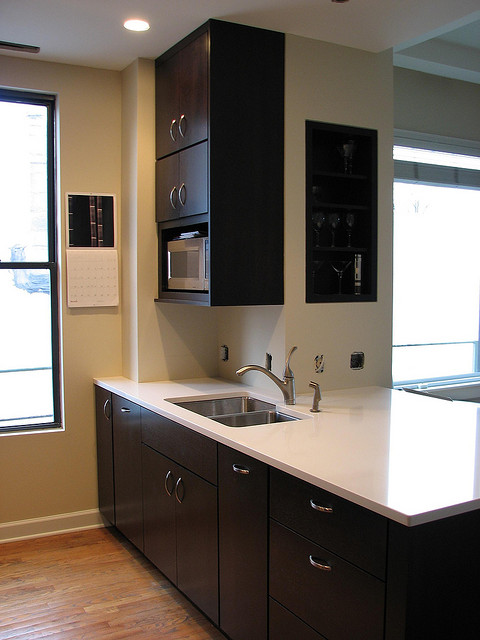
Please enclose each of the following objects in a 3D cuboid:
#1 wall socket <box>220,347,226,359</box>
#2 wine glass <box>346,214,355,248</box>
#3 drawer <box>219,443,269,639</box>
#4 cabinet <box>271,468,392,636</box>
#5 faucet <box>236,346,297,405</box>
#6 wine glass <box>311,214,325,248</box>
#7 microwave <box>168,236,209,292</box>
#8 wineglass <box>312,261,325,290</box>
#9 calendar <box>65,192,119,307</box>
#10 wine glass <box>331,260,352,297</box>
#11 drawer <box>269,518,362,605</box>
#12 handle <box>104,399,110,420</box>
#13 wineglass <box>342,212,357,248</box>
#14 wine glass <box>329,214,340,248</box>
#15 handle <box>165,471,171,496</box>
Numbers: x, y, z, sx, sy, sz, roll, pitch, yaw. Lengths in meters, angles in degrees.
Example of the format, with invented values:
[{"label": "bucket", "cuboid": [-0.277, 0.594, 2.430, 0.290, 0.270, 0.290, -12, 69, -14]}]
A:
[{"label": "wall socket", "cuboid": [-0.102, 0.200, 3.104, 0.009, 0.056, 0.043, 1, 5, -16]}, {"label": "wine glass", "cuboid": [0.546, -0.438, 2.615, 0.037, 0.140, 0.181, 0, 2, 14]}, {"label": "drawer", "cuboid": [0.010, 0.727, 1.692, 0.140, 0.621, 0.219, -1, 6, -21]}, {"label": "cabinet", "cuboid": [0.228, 0.604, 1.288, 0.195, 0.436, 0.286, -2, 6, -28]}, {"label": "faucet", "cuboid": [0.138, 0.242, 2.233, 0.170, 0.238, 0.396, 0, 2, 29]}, {"label": "wine glass", "cuboid": [0.379, -0.430, 2.567, 0.058, 0.134, 0.213, 0, 2, 11]}, {"label": "microwave", "cuboid": [-0.250, -0.267, 2.564, 0.168, 0.329, 0.379, -1, 2, -23]}, {"label": "wineglass", "cuboid": [0.386, -0.215, 2.614, 0.047, 0.135, 0.112, 0, 2, 15]}, {"label": "calendar", "cuboid": [-0.867, -0.406, 3.085, 0.295, 0.648, 0.042, -2, 2, -26]}, {"label": "wine glass", "cuboid": [0.504, -0.203, 2.625, 0.103, 0.186, 0.164, -1, 2, 12]}, {"label": "drawer", "cuboid": [0.181, 0.618, 1.370, 0.166, 0.152, 0.196, 5, -7, -24]}, {"label": "handle", "cuboid": [-0.751, 0.499, 2.960, 0.009, 0.115, 0.075, -2, 2, -31]}, {"label": "wineglass", "cuboid": [0.543, -0.451, 2.620, 0.072, 0.177, 0.189, 0, 2, 13]}, {"label": "wine glass", "cuboid": [0.460, -0.430, 2.601, 0.041, 0.131, 0.257, 0, 2, 10]}, {"label": "handle", "cuboid": [-0.312, 0.695, 2.266, 0.008, 0.107, 0.068, -1, 2, -25]}]
